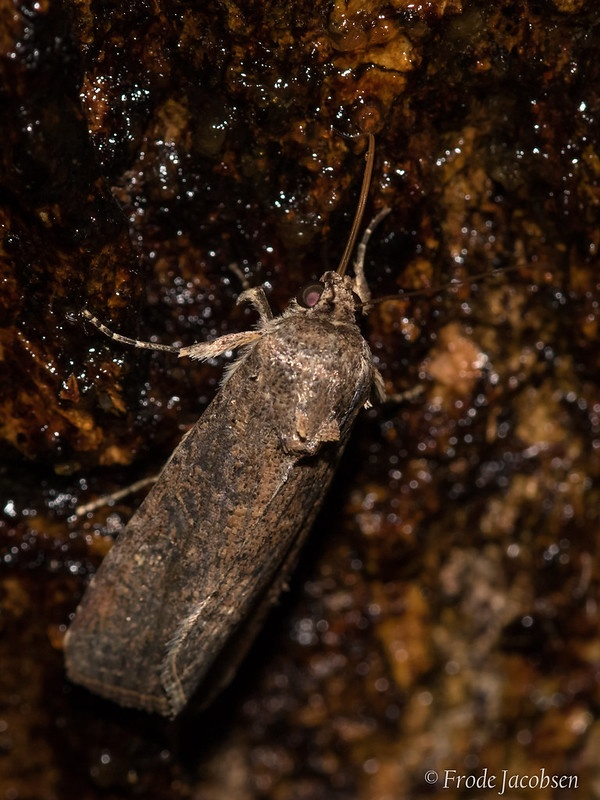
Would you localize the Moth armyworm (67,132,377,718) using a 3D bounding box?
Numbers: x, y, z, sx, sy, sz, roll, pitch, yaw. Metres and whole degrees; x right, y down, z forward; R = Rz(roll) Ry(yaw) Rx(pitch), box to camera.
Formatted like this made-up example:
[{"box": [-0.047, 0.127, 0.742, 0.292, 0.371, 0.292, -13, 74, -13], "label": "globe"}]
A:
[{"box": [-0.221, 0.484, 3.741, 0.562, 1.389, 1.868, 28, 66, 29], "label": "Moth armyworm"}]
